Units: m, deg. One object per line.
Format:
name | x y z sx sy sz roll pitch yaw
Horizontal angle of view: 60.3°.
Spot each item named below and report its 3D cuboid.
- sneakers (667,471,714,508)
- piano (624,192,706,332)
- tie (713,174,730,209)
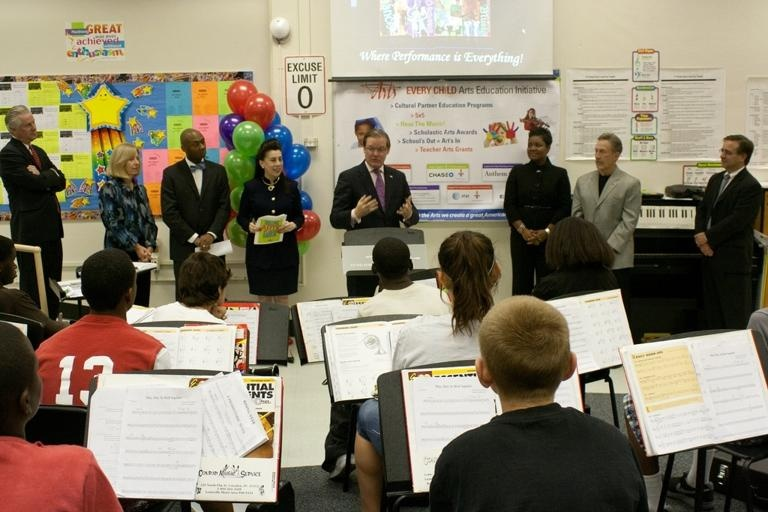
sneakers | 1.718 1.316 3.766 0.135 0.131 0.291 -7 15 -17
piano | 2.513 0.152 6.259 0.803 1.431 0.773 -2 8 -12
tie | 2.967 -0.579 5.754 0.080 0.047 0.433 11 48 41
